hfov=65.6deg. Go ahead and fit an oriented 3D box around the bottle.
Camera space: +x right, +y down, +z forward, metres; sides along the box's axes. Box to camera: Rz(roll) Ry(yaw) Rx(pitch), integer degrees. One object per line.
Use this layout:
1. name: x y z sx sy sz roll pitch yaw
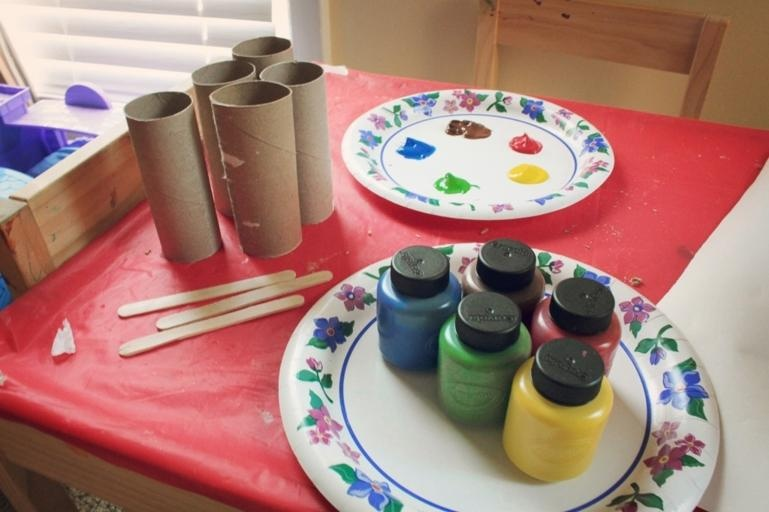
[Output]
1. bottle: 0.163 0.156 0.730 0.214 0.161 0.098 26 42 29
